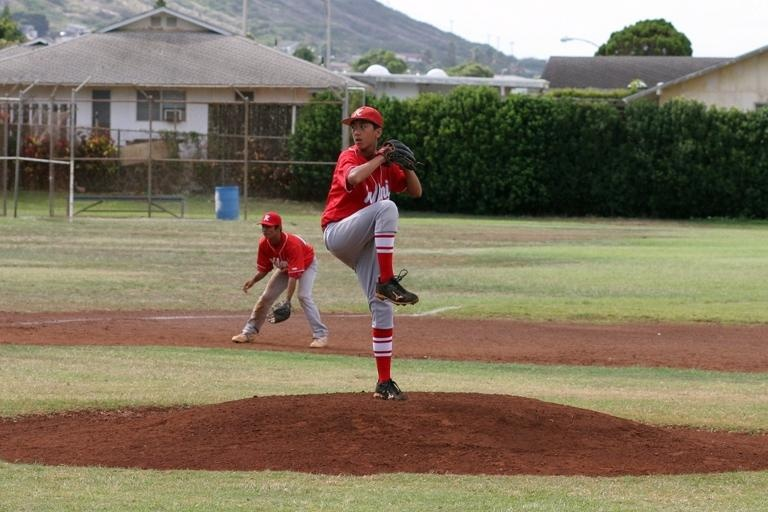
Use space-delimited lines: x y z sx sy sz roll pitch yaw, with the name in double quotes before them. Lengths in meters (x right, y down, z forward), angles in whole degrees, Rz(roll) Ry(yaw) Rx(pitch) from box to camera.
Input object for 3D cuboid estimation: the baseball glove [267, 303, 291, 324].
"baseball glove" -3.348 1.857 56.873 0.640 0.454 0.759 -21 -10 37
